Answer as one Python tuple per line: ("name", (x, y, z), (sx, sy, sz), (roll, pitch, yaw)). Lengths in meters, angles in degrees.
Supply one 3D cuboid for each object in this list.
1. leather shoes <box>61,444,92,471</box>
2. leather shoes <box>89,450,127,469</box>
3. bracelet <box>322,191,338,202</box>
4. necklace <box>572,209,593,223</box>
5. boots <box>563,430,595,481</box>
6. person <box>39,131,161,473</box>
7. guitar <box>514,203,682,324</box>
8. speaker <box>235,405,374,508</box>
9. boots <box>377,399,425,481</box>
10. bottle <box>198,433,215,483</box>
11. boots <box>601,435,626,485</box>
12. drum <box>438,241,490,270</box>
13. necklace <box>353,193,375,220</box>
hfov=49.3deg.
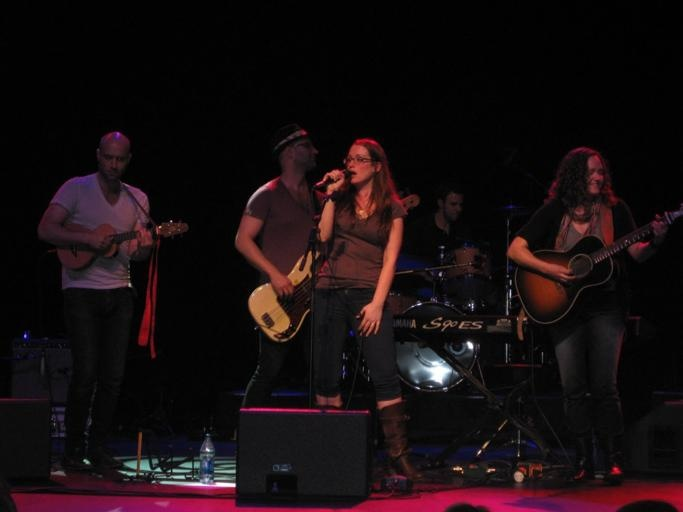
("leather shoes", (-1.851, 1.419, 5.212), (0.189, 0.140, 0.245), (-3, 9, -24))
("leather shoes", (-1.620, 1.438, 5.243), (0.320, 0.132, 0.105), (5, -3, -1))
("bracelet", (-0.073, -0.389, 4.944), (0.072, 0.055, 0.056), (8, -2, 12))
("necklace", (1.653, -0.272, 5.164), (0.102, 0.095, 0.025), (6, 7, 28))
("boots", (1.539, 1.366, 5.046), (0.179, 0.304, 0.310), (-1, -9, 7))
("person", (-1.765, 0.409, 5.392), (0.676, 2.101, 0.780), (4, 9, 24))
("guitar", (1.741, 0.110, 5.271), (1.380, 0.556, 0.214), (-31, -17, 19))
("speaker", (-0.211, 1.155, 4.345), (0.927, 0.611, 0.504), (0, 0, 5))
("boots", (0.404, 1.224, 4.903), (0.235, 0.540, 0.246), (-4, 10, -29))
("bottle", (-0.909, 1.350, 4.998), (0.091, 0.310, 0.222), (-2, 9, -14))
("boots", (1.802, 1.336, 4.937), (0.153, 0.309, 0.145), (0, 9, -6))
("drum", (1.179, -0.009, 7.255), (0.355, 0.214, 0.278), (-1, 4, -1))
("necklace", (0.136, -0.335, 5.040), (0.106, 0.145, 0.044), (-16, -14, 1))
